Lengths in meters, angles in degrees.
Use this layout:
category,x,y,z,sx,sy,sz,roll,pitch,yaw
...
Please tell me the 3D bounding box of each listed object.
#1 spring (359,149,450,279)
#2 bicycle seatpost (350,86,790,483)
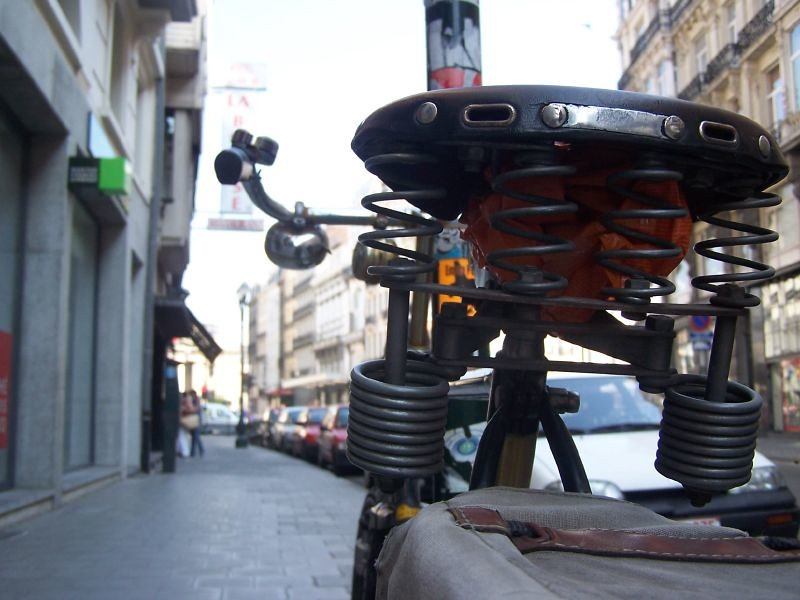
category,x,y,z,sx,sy,sz,roll,pitch,yaw
spring,-0.017,-0.194,2.874,0.162,0.272,0.176,-12,1,1
bicycle seatpost,0.536,-0.032,3.039,1.214,1.309,1.405,5,5,-27
